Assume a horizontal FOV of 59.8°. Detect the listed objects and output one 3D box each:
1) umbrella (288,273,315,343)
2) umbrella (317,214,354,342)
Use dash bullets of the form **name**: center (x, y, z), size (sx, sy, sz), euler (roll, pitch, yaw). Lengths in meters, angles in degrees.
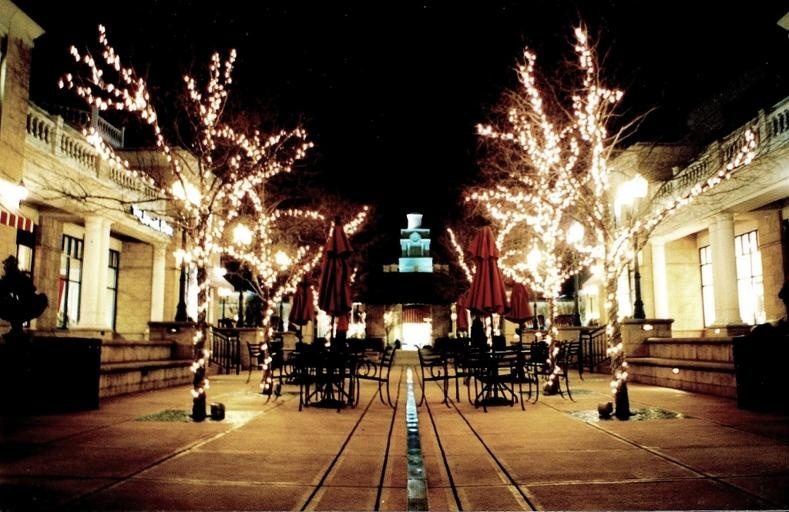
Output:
- **umbrella**: center (-2.797, 1.296, 20.539), size (0.710, 1.587, 1.052), euler (-1, 7, -10)
- **umbrella**: center (-1.568, 0.663, 18.368), size (0.860, 3.467, 2.300), euler (-1, 7, -4)
